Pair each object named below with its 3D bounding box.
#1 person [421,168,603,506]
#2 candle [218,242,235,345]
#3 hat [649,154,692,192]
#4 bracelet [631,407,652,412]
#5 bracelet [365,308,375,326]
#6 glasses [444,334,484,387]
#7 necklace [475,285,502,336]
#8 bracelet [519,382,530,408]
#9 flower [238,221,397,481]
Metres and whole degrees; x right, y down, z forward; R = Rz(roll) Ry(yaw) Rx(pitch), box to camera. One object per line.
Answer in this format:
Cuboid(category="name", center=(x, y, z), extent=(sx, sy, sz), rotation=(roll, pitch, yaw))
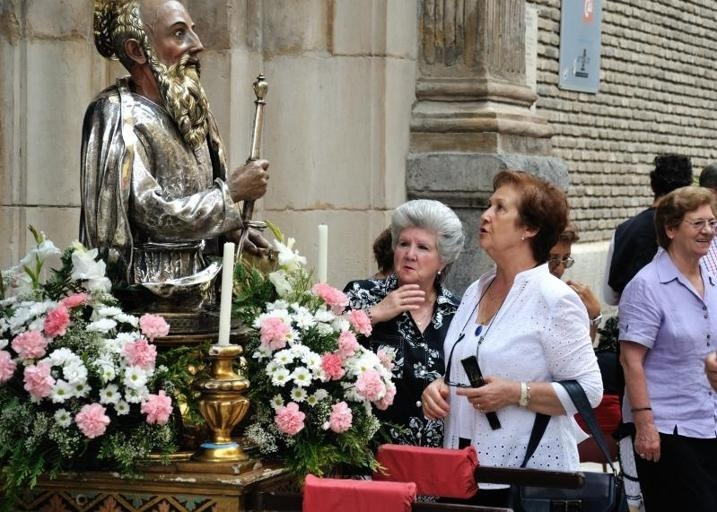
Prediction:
Cuboid(category="person", center=(0.666, 0.271, 5.004), extent=(0.772, 1.288, 0.565), rotation=(1, 4, 16))
Cuboid(category="candle", center=(-0.536, 0.151, 4.547), extent=(0.060, 0.407, 0.121), rotation=(-1, 3, -3))
Cuboid(category="hat", center=(2.126, -0.566, 7.738), extent=(0.260, 0.288, 0.253), rotation=(1, 1, -8))
Cuboid(category="bracelet", center=(1.405, 0.768, 5.714), extent=(0.096, 0.029, 0.034), rotation=(1, 4, 25))
Cuboid(category="bracelet", center=(0.045, 0.280, 5.221), extent=(0.024, 0.064, 0.044), rotation=(-15, 2, -14))
Cuboid(category="glasses", center=(0.466, 0.484, 4.991), extent=(0.141, 0.198, 0.218), rotation=(-3, -37, 0))
Cuboid(category="necklace", center=(0.574, 0.242, 5.090), extent=(0.078, 0.020, 0.265), rotation=(4, 47, 32))
Cuboid(category="bracelet", center=(0.703, 0.594, 4.886), extent=(0.057, 0.095, 0.082), rotation=(1, -1, 6))
Cuboid(category="flower", center=(-0.193, 0.463, 4.827), extent=(0.667, 1.054, 0.600), rotation=(-1, 4, -7))
